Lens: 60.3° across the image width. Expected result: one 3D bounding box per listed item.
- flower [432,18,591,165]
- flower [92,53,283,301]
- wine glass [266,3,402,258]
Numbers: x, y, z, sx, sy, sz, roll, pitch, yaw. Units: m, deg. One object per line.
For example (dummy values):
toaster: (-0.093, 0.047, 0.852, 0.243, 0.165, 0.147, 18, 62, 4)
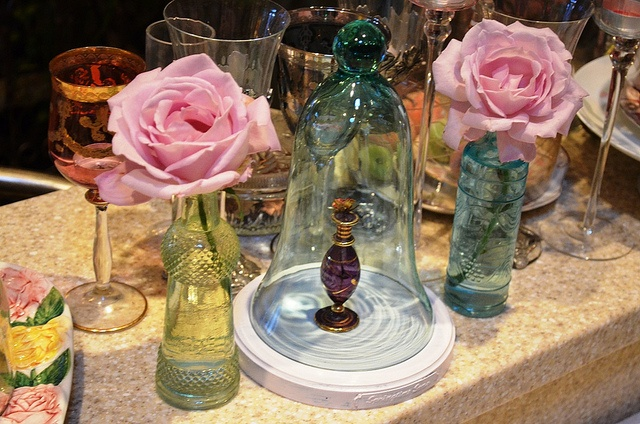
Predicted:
flower: (0.205, -0.132, 0.608, 0.148, 0.139, 0.127, 22, 39, 26)
flower: (-0.117, -0.061, 0.471, 0.125, 0.116, 0.125, 22, 39, 27)
wine glass: (0.014, -0.116, 0.771, 0.166, 0.314, 0.303, 1, 34, -1)
